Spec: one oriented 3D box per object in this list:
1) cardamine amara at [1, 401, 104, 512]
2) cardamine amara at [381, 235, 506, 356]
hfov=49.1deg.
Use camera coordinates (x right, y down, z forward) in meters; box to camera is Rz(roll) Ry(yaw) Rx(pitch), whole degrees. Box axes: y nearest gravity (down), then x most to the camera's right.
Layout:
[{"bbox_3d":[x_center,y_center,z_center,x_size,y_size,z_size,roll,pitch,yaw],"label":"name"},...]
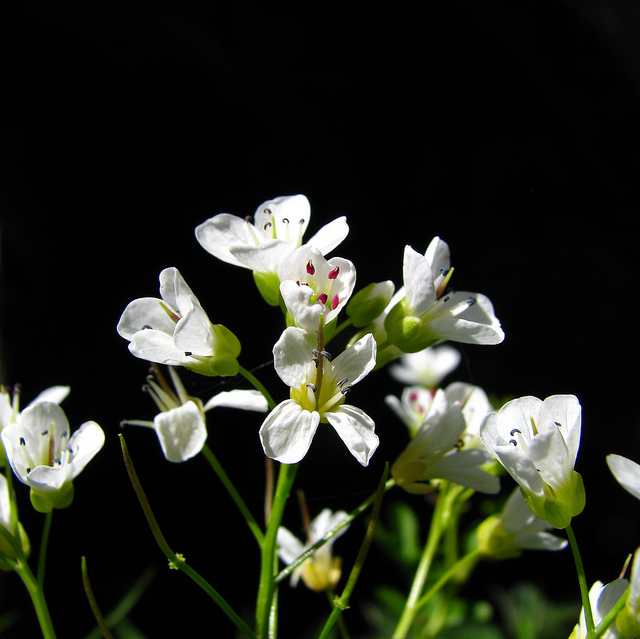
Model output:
[{"bbox_3d":[-0.429,0.193,1.139,0.152,0.167,0.151,19,25,39],"label":"cardamine amara"},{"bbox_3d":[0.203,-0.006,1.183,0.139,0.176,0.193,-45,-13,-36],"label":"cardamine amara"}]
